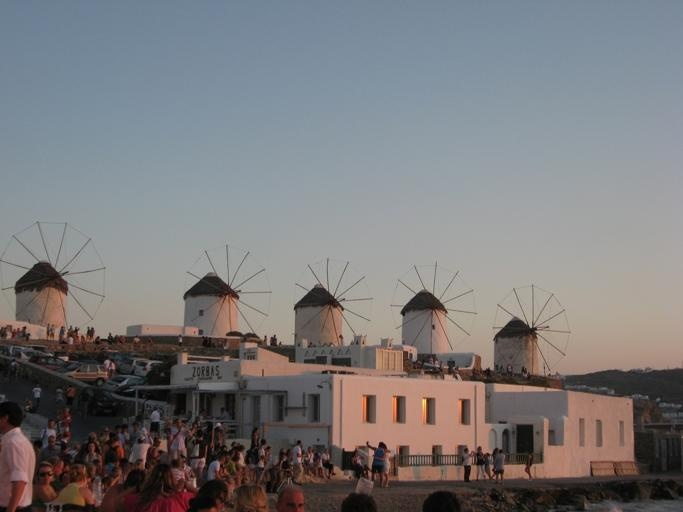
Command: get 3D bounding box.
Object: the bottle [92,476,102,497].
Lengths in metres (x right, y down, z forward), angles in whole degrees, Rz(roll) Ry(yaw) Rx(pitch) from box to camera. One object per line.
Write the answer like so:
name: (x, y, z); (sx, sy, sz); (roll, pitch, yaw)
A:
bottle: (-5.371, 4.786, 17.461); (0.128, 0.337, 0.251); (-1, -2, 4)
